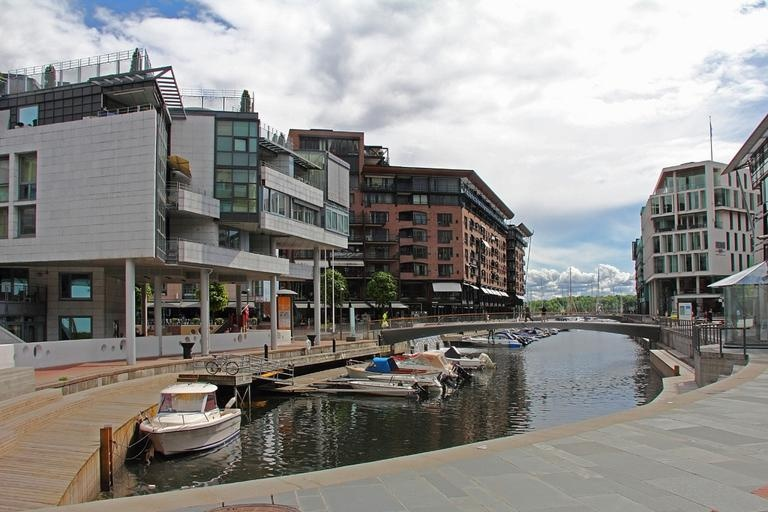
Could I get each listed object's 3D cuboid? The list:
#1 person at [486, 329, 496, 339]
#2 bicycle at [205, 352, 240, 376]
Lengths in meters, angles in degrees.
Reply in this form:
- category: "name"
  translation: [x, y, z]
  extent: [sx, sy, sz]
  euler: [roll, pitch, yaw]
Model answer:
- category: "person"
  translation: [16.327, 12.053, 97.152]
  extent: [1.057, 1.332, 2.634]
  euler: [-3, -9, 7]
- category: "bicycle"
  translation: [-11.337, 7.751, 44.792]
  extent: [2.713, 1.299, 1.269]
  euler: [-2, 2, 3]
